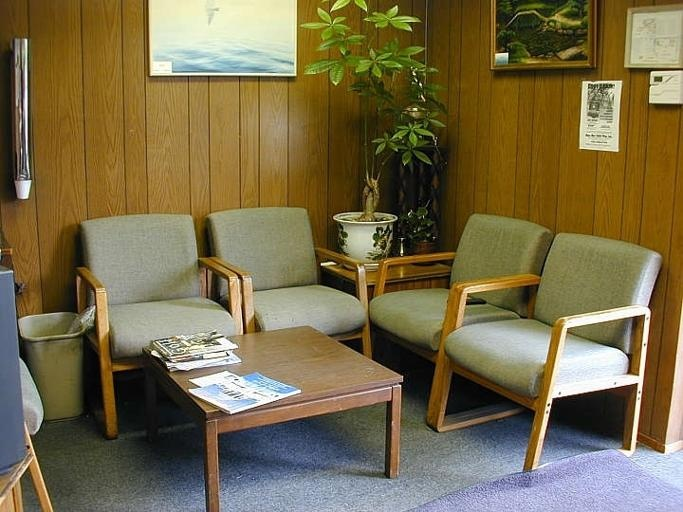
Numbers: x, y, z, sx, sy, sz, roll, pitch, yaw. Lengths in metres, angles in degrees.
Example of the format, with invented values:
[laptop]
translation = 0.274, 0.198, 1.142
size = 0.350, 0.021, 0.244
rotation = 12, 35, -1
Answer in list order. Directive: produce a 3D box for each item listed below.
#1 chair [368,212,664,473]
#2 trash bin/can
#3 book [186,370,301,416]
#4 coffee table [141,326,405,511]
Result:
[chair]
translation = 0.882, 0.367, 2.794
size = 0.891, 0.999, 1.222
rotation = -8, 16, -31
[trash bin/can]
translation = -1.542, 0.571, 2.886
size = 0.279, 0.490, 0.402
rotation = -9, 17, -31
[book]
translation = -0.407, 0.536, 2.144
size = 0.349, 0.045, 0.363
rotation = -10, 16, -38
[coffee table]
translation = -0.301, 0.690, 2.432
size = 0.904, 0.492, 0.801
rotation = -7, 15, -30
